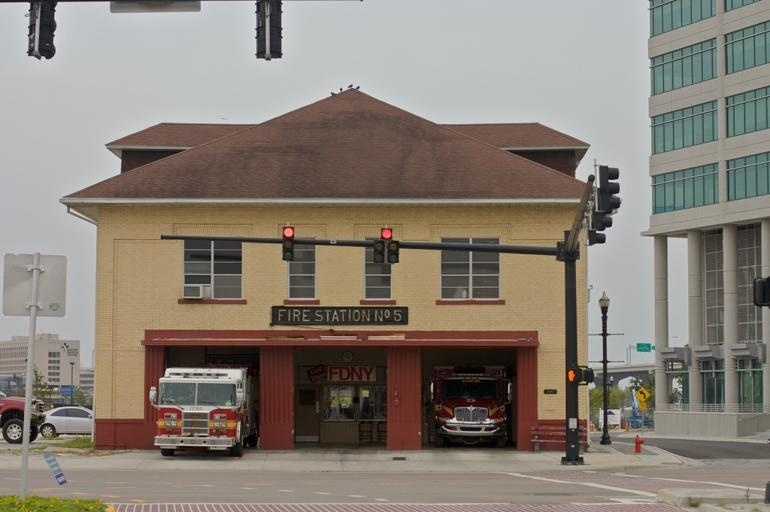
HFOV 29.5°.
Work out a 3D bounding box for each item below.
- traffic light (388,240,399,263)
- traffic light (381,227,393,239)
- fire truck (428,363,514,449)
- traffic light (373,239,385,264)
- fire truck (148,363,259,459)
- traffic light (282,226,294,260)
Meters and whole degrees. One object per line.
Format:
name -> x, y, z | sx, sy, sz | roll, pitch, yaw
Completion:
traffic light -> 0.381, -0.226, 62.799 | 0.531, 0.922, 0.270 | 0, -11, -1
traffic light -> 0.092, -0.968, 62.835 | 0.424, 0.528, 0.414 | 2, -11, -13
fire truck -> 4.375, 7.312, 73.199 | 3.528, 3.695, 0.983 | -4, -12, 15
traffic light -> -0.223, -0.227, 62.813 | 0.435, 0.915, 0.250 | -1, -11, 0
fire truck -> -8.683, 7.219, 68.699 | 4.830, 4.155, 3.424 | 1, -11, -9
traffic light -> -4.175, -0.566, 63.158 | 0.521, 1.453, 0.672 | 0, -11, -4
